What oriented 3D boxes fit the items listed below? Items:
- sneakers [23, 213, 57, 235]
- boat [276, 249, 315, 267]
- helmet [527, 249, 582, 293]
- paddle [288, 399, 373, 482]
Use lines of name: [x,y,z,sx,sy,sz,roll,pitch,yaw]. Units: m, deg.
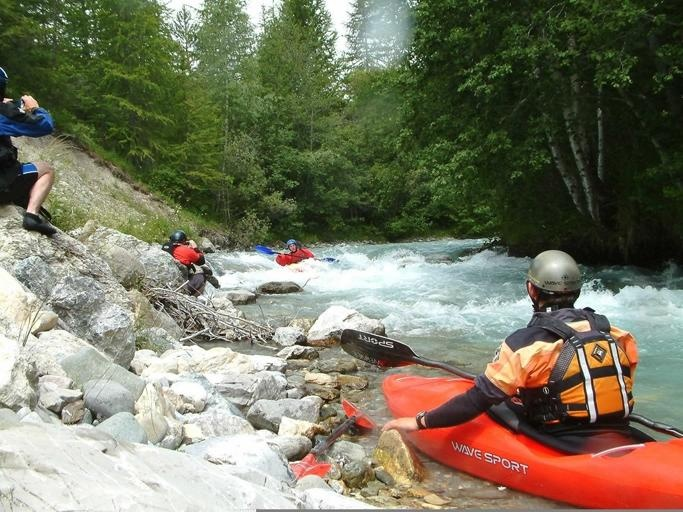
sneakers: [-3.248,-0.348,5.961,0.357,0.192,0.182,14,14,-38]
boat: [-1.441,0.049,16.884,0.742,0.301,0.696,-19,-1,10]
helmet: [1.680,0.110,4.391,0.339,0.294,0.389,5,22,5]
paddle: [-0.110,1.677,4.925,0.474,0.154,0.826,22,6,18]
